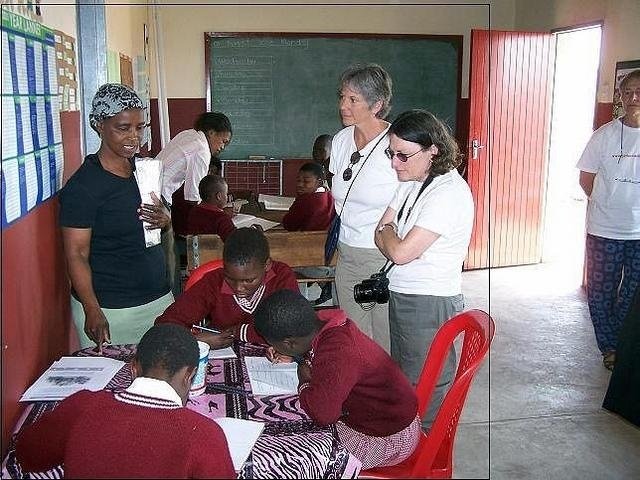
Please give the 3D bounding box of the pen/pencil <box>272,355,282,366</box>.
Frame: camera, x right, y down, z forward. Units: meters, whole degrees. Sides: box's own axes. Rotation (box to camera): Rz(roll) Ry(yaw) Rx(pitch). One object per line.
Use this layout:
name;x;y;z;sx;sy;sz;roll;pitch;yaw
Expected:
pen/pencil;-0.165;0.459;1.754;0.023;0.031;0.010;0;-33;-10

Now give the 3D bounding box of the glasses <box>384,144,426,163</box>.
glasses;0.375;-0.388;2.112;0.059;0.061;0.185;-13;19;-42

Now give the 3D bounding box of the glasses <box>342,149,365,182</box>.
glasses;0.181;-0.420;2.587;0.106;0.160;0.043;37;29;29

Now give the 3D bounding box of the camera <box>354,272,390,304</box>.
camera;0.243;0.228;2.303;0.179;0.172;0.123;-5;3;-6

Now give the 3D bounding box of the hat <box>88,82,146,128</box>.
hat;-0.924;-0.607;2.085;0.218;0.205;0.226;0;14;-1
